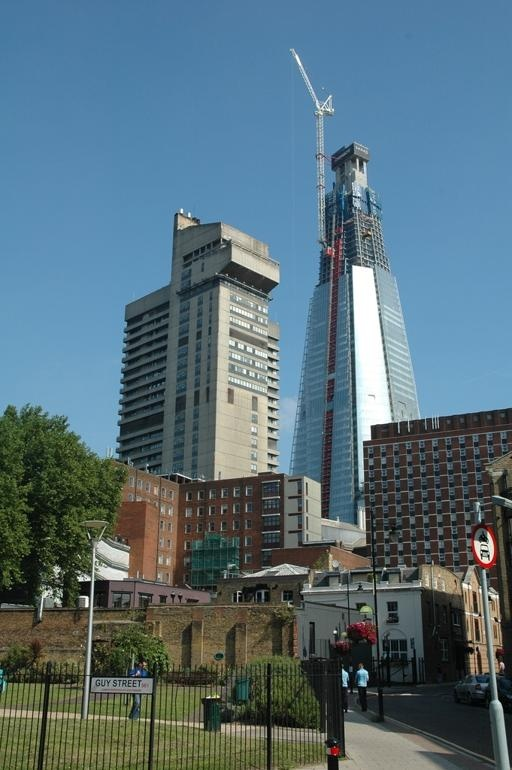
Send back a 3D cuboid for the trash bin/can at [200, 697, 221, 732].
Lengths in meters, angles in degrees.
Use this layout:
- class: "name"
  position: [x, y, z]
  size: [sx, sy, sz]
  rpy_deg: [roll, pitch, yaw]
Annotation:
- class: "trash bin/can"
  position: [-1.160, 8.568, 18.640]
  size: [0.439, 0.745, 0.684]
  rpy_deg: [3, -20, -6]
